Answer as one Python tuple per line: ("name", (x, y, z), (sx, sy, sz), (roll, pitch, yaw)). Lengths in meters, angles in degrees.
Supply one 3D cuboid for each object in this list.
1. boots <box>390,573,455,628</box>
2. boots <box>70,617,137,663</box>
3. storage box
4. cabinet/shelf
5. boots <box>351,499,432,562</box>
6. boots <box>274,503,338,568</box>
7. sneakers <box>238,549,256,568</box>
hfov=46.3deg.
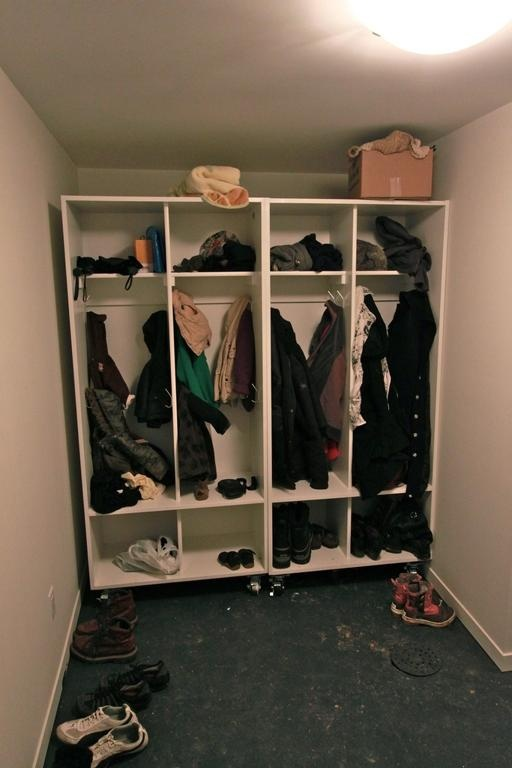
("boots", (0.760, 1.014, 2.783), (0.232, 0.171, 0.194), (4, 5, -8))
("boots", (-0.650, 1.087, 2.564), (0.229, 0.113, 0.156), (7, 2, -14))
("storage box", (0.619, -0.927, 2.691), (0.247, 0.152, 0.249), (-1, 14, -3))
("cabinet/shelf", (-0.004, 0.026, 2.931), (1.971, 1.934, 0.515), (-1, 3, -6))
("boots", (0.712, 0.750, 3.103), (0.326, 0.157, 0.331), (-2, 24, 6))
("boots", (0.246, 0.772, 3.046), (0.169, 0.315, 0.511), (-1, 8, 11))
("sneakers", (-0.049, 0.882, 3.026), (0.054, 0.048, 0.120), (-1, 4, -6))
